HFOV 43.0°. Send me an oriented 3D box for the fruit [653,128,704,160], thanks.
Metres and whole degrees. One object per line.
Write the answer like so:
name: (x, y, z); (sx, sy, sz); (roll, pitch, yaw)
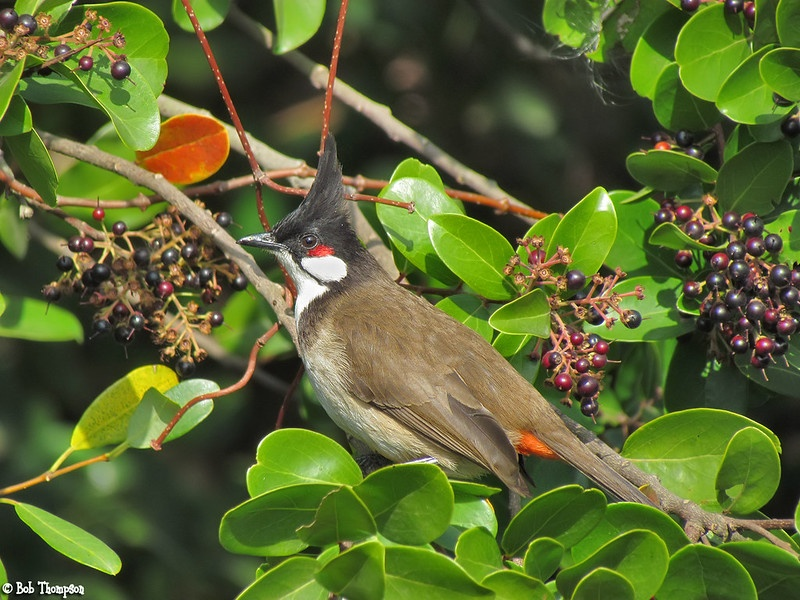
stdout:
fruit: (1.343, -0.745, 4.884); (0.281, 0.120, 0.113); (10, -27, 7)
